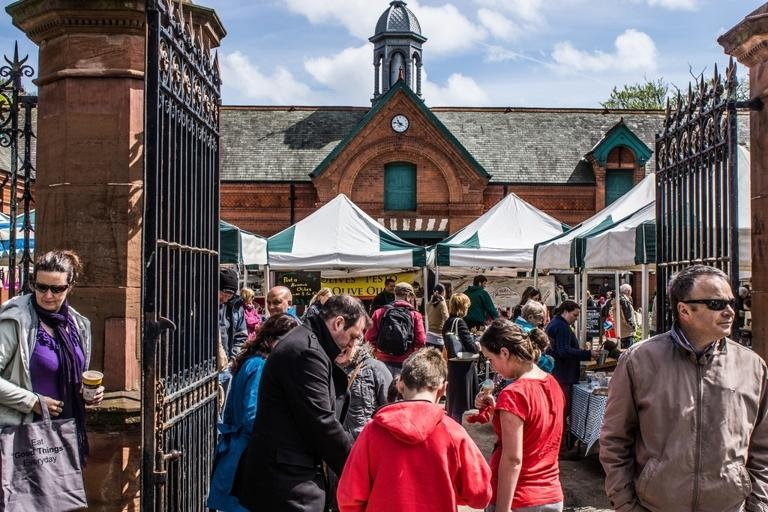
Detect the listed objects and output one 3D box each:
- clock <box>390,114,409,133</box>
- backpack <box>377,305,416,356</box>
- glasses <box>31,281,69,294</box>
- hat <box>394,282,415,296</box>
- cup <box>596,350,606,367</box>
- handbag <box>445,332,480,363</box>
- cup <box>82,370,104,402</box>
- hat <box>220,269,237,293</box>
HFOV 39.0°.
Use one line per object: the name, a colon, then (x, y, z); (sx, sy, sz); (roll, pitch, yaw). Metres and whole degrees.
clock: (0.460, -3.746, 30.753); (0.519, 0.525, 0.058); (-1, 3, -2)
backpack: (0.138, 0.852, 12.578); (0.403, 0.547, 0.537); (0, -15, 5)
glasses: (-2.613, 0.251, 8.481); (0.268, 0.082, 0.104); (2, -7, -16)
hat: (0.260, 0.405, 13.184); (0.199, 0.157, 0.158); (-4, 6, -19)
cup: (2.648, 1.217, 13.042); (0.148, 0.145, 0.144); (3, -12, 1)
handbag: (0.979, 1.213, 13.649); (0.305, 0.397, 0.560); (-16, -20, 38)
cup: (-2.273, 1.002, 8.388); (0.182, 0.242, 0.146); (-5, -9, 40)
hat: (-1.613, 0.263, 11.392); (0.223, 0.215, 0.175); (-14, -12, 42)
